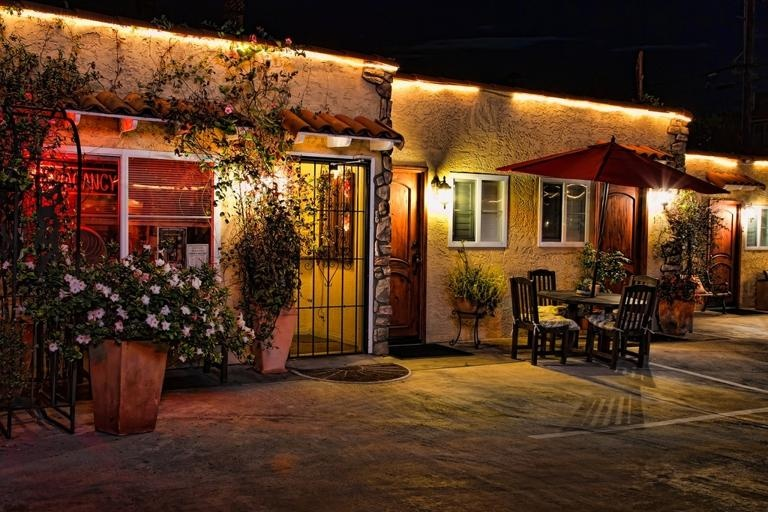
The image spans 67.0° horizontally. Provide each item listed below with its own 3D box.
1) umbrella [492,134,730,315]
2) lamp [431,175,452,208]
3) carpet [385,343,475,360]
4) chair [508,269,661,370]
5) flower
[{"bbox_3d":[4.165,-0.431,10.269,3.171,2.109,3.286,-3,11,-35],"label":"umbrella"},{"bbox_3d":[1.088,-1.198,10.818,0.440,0.525,0.170,2,-1,-20],"label":"lamp"},{"bbox_3d":[0.770,1.640,10.206,1.437,0.193,1.225,2,-1,-9],"label":"carpet"},{"bbox_3d":[3.250,1.068,9.539,2.169,1.078,1.331,1,-1,17],"label":"chair"},{"bbox_3d":[-2.831,0.545,6.405,2.318,1.315,0.875,2,-1,-7],"label":"flower"}]
